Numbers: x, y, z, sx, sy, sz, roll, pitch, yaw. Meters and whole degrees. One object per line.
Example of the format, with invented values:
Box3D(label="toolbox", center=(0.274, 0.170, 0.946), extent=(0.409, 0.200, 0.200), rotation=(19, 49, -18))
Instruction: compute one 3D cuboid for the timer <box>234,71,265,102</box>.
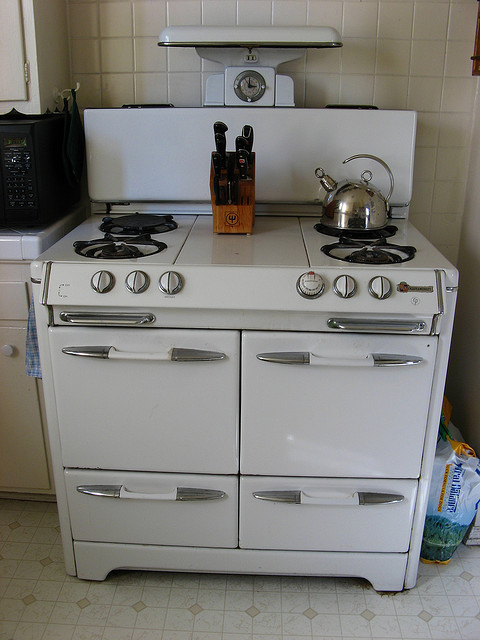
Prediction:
Box3D(label="timer", center=(0.030, -0.719, 1.738), extent=(0.090, 0.086, 0.026), rotation=(1, 14, 0))

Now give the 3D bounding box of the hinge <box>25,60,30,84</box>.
Box3D(label="hinge", center=(-0.610, -0.710, 1.600), extent=(0.014, 0.061, 0.007), rotation=(-7, 26, -17))

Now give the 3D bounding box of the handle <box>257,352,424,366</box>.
Box3D(label="handle", center=(0.226, 0.090, 1.251), extent=(0.375, 0.020, 0.037), rotation=(1, 24, 0))

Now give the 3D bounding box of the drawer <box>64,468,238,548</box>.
Box3D(label="drawer", center=(-0.222, 0.490, 1.434), extent=(0.330, 0.152, 0.253), rotation=(0, 29, -1))

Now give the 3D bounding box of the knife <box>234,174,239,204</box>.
Box3D(label="knife", center=(-0.010, -0.350, 1.496), extent=(0.014, 0.054, 0.055), rotation=(-1, -5, 10))

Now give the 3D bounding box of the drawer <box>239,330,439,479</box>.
Box3D(label="drawer", center=(0.223, 0.183, 1.433), extent=(0.460, 0.411, 0.336), rotation=(0, 16, 2))

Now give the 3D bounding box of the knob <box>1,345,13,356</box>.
Box3D(label="knob", center=(-0.679, 0.092, 1.622), extent=(0.034, 0.040, 0.015), rotation=(8, 26, 16))

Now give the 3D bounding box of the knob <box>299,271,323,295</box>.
Box3D(label="knob", center=(0.153, -0.078, 1.207), extent=(0.050, 0.039, 0.035), rotation=(4, 25, 6))

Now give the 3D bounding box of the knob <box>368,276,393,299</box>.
Box3D(label="knob", center=(0.303, -0.069, 1.209), extent=(0.053, 0.042, 0.034), rotation=(8, 25, 16))

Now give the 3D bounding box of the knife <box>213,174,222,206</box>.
Box3D(label="knife", center=(-0.062, -0.347, 1.493), extent=(0.020, 0.073, 0.018), rotation=(-5, -2, -34))

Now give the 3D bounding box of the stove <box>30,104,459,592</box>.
Box3D(label="stove", center=(0.023, 0.099, 1.596), extent=(1.013, 1.130, 0.662), rotation=(2, 13, 6))

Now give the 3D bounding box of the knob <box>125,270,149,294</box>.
Box3D(label="knob", center=(-0.226, -0.084, 1.225), extent=(0.047, 0.048, 0.011), rotation=(3, -7, 0))

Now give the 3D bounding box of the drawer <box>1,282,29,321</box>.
Box3D(label="drawer", center=(-0.633, -0.058, 1.567), extent=(0.087, 0.119, 0.065), rotation=(3, 25, -6))

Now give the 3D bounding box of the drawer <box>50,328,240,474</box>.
Box3D(label="drawer", center=(-0.197, 0.189, 1.482), extent=(0.465, 0.326, 0.355), rotation=(0, 7, 8))

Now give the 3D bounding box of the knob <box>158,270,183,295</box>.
Box3D(label="knob", center=(-0.154, -0.080, 1.229), extent=(0.054, 0.045, 0.033), rotation=(-1, 25, -5))

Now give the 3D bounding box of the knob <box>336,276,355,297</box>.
Box3D(label="knob", center=(0.227, -0.072, 1.205), extent=(0.039, 0.037, 0.027), rotation=(6, 25, 11))
